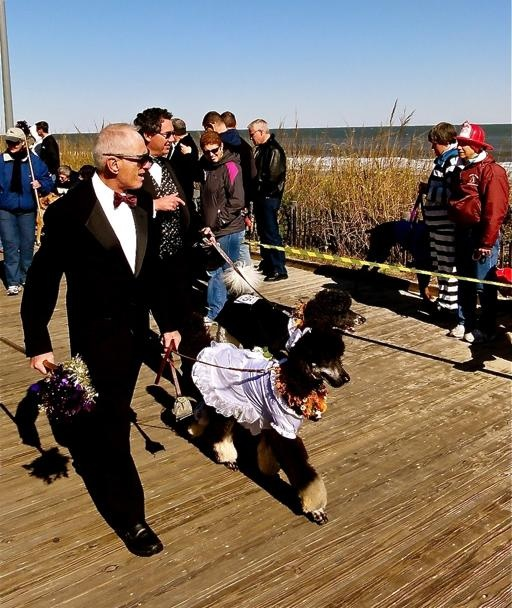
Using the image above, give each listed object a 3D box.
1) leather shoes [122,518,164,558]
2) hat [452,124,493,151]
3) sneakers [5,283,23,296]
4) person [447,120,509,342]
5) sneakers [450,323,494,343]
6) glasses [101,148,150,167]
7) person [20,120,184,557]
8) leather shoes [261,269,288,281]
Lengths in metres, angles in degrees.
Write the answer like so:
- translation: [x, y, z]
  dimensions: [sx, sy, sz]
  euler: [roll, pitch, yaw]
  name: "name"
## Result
- translation: [-0.497, 1.042, 2.187]
  dimensions: [0.104, 0.076, 0.194]
  euler: [-5, 8, -38]
  name: "leather shoes"
- translation: [1.940, -1.512, 4.425]
  dimensions: [0.292, 0.254, 0.578]
  euler: [4, 13, 23]
  name: "hat"
- translation: [-3.380, -0.192, 6.924]
  dimensions: [0.100, 0.113, 0.274]
  euler: [-3, 1, -7]
  name: "sneakers"
- translation: [2.070, -0.639, 4.670]
  dimensions: [0.517, 2.069, 0.686]
  euler: [3, 14, 19]
  name: "person"
- translation: [2.133, 0.288, 4.916]
  dimensions: [0.404, 0.146, 0.135]
  euler: [-5, 17, 7]
  name: "sneakers"
- translation: [-0.508, -0.591, 2.019]
  dimensions: [0.225, 0.062, 0.129]
  euler: [-11, 15, -39]
  name: "glasses"
- translation: [-0.708, 0.146, 2.333]
  dimensions: [0.607, 1.865, 0.798]
  euler: [-2, 13, -3]
  name: "person"
- translation: [0.265, -0.408, 7.249]
  dimensions: [0.332, 0.120, 0.131]
  euler: [1, 11, -29]
  name: "leather shoes"
